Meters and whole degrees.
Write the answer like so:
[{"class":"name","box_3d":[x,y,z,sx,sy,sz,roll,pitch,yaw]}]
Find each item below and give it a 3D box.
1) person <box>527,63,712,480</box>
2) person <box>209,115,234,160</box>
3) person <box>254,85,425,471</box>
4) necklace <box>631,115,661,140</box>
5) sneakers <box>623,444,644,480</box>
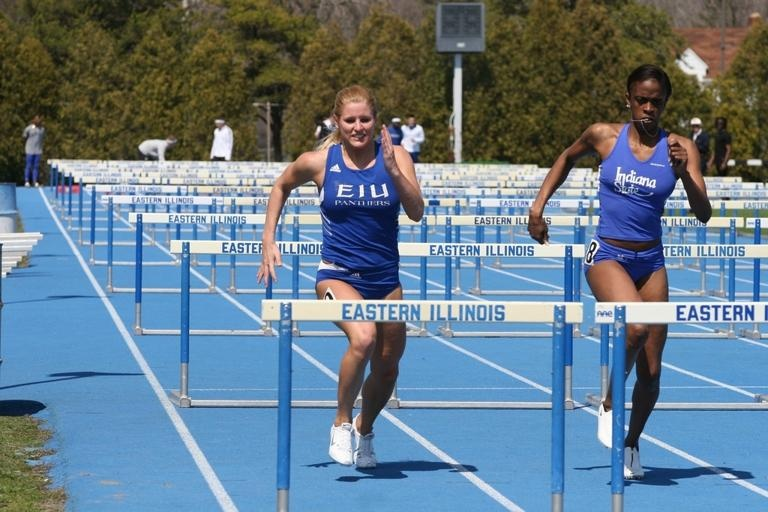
[{"class":"person","box_3d":[2.030,0.142,11.160,1.356,3.457,0.860,0,6,13]},{"class":"person","box_3d":[-3.995,-2.847,32.333,0.500,1.021,0.937,-2,6,-8]},{"class":"person","box_3d":[-0.307,0.226,11.056,1.253,3.251,0.742,-1,6,0]},{"class":"necklace","box_3d":[2.171,-1.071,11.062,0.153,0.121,0.193,9,-21,4]},{"class":"sneakers","box_3d":[2.088,1.695,11.293,0.138,0.167,0.391,-3,28,1]}]
